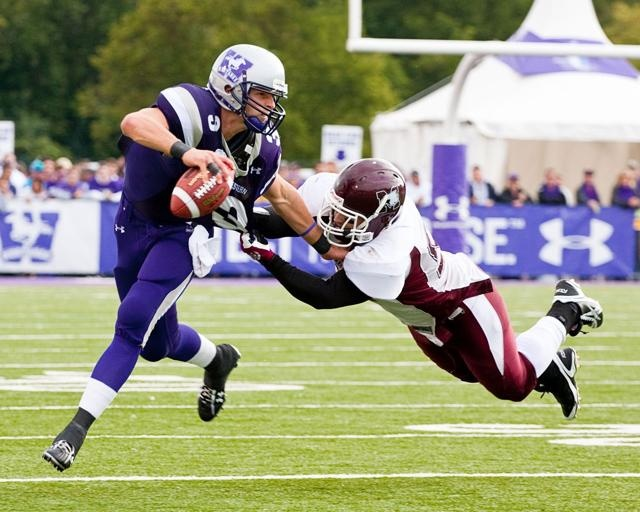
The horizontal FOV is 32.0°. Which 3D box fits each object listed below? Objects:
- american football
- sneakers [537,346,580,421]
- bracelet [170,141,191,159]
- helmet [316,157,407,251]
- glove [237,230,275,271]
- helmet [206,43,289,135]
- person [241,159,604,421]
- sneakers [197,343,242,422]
[{"bbox_3d":[-0.563,-0.286,5.265,0.321,0.199,0.193,-33,54,-23],"label":"american football"},{"bbox_3d":[1.321,0.685,6.034,0.258,0.451,0.153,-16,27,-5],"label":"sneakers"},{"bbox_3d":[-0.652,-0.492,5.190,0.099,0.084,0.060,1,7,3],"label":"bracelet"},{"bbox_3d":[0.184,-0.247,5.541,0.475,0.362,0.353,-20,62,-15],"label":"helmet"},{"bbox_3d":[-0.300,-0.008,5.502,0.138,0.075,0.182,49,16,25],"label":"glove"},{"bbox_3d":[-0.296,-0.849,5.593,0.481,0.438,0.346,10,15,12],"label":"helmet"},{"bbox_3d":[0.519,0.090,6.122,2.275,1.436,0.935,2,15,-7],"label":"person"},{"bbox_3d":[-0.586,0.661,6.104,0.170,0.450,0.229,18,9,36],"label":"sneakers"}]
